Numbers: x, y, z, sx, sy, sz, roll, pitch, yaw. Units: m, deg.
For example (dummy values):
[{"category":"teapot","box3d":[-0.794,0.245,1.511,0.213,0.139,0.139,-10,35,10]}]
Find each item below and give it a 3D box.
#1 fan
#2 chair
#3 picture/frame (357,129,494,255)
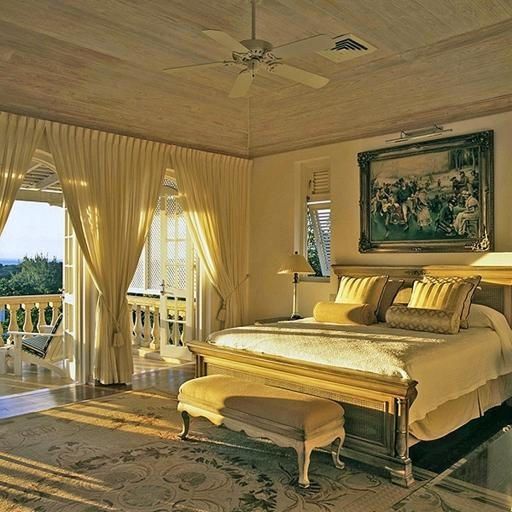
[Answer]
[{"category":"fan","box3d":[0.079,-1.249,2.911,0.825,0.150,0.900,0,-1,-3]},{"category":"chair","box3d":[-2.607,1.116,5.721,0.971,0.751,0.737,2,-9,-22]},{"category":"picture/frame","box3d":[1.840,-0.678,4.774,1.831,1.210,0.137,0,-1,38]}]
